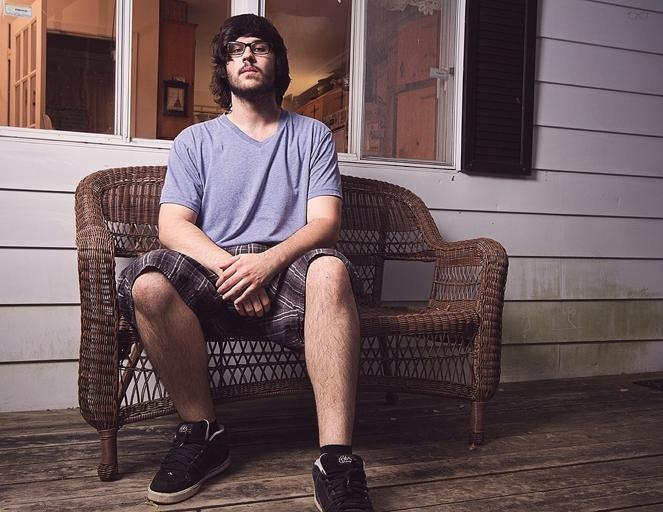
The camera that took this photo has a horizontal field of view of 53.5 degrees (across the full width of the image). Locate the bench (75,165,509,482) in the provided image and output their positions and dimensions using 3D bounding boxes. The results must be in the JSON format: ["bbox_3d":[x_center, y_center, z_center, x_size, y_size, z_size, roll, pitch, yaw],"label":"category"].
[{"bbox_3d":[-0.202,0.168,2.720,1.604,1.255,0.989,0,0,-23],"label":"bench"}]

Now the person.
[{"bbox_3d":[-0.293,-0.082,2.435,0.848,1.679,1.017,1,8,3],"label":"person"}]
